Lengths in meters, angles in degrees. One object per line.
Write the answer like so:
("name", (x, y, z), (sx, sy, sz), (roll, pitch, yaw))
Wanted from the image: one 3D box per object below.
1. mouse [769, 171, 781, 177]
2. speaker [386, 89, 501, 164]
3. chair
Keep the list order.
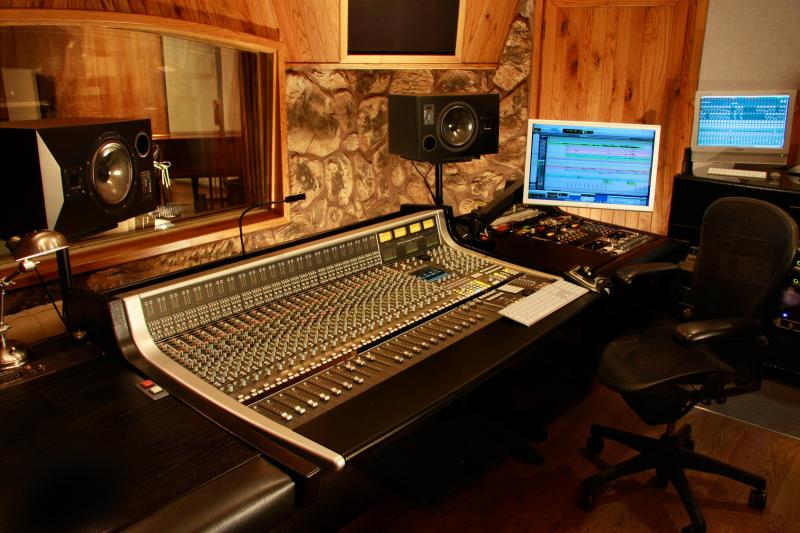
("mouse", (2.322, -0.570, 3.319), (0.063, 0.025, 0.058), (-14, 23, -19))
("speaker", (0.230, -0.805, 3.091), (0.613, 0.339, 0.343), (-14, 22, -34))
("chair", (1.327, 0.436, 2.454), (1.043, 1.356, 0.744), (-14, 26, -24))
